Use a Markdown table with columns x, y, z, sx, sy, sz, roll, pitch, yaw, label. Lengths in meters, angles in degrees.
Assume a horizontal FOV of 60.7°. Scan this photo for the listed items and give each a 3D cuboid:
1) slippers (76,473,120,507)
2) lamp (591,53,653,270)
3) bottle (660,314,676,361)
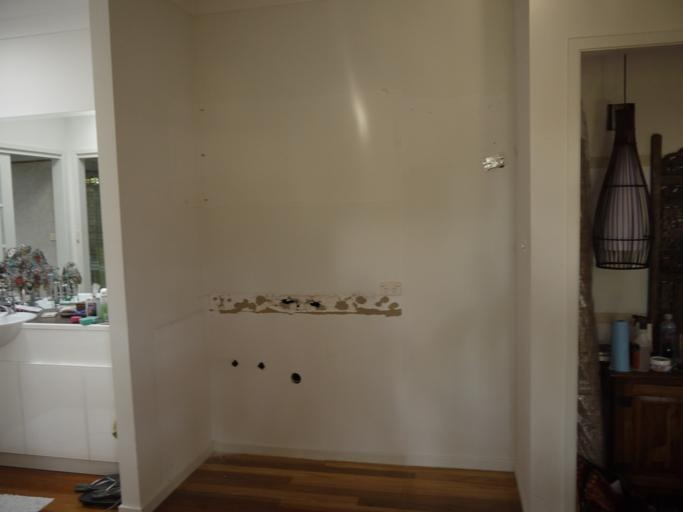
| x | y | z | sx | sy | sz | roll | pitch | yaw | label |
| --- | --- | --- | --- | --- | --- | --- | --- | --- | --- |
| -1.450 | 1.401 | 3.453 | 0.241 | 0.110 | 0.283 | -3 | 2 | -27 | slippers |
| 1.520 | -0.371 | 3.153 | 0.287 | 0.876 | 0.076 | 0 | 3 | 25 | lamp |
| 1.793 | 0.435 | 3.190 | 0.081 | 0.236 | 0.055 | 0 | 2 | 24 | bottle |
